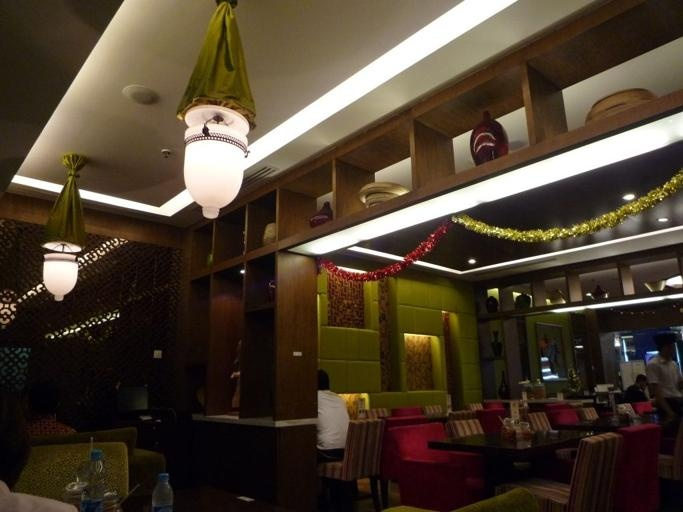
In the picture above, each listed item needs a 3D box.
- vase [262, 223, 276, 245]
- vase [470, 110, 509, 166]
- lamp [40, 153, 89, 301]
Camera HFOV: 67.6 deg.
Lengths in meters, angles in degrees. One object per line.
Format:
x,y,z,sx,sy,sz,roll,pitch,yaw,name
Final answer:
-0.803,-0.254,5.722,0.167,0.241,0.087,2,-2,42,vase
1.193,-0.953,4.147,0.282,0.476,0.294,-2,-1,-22,vase
-2.800,-0.310,5.193,0.361,1.456,0.681,8,-19,-29,lamp
